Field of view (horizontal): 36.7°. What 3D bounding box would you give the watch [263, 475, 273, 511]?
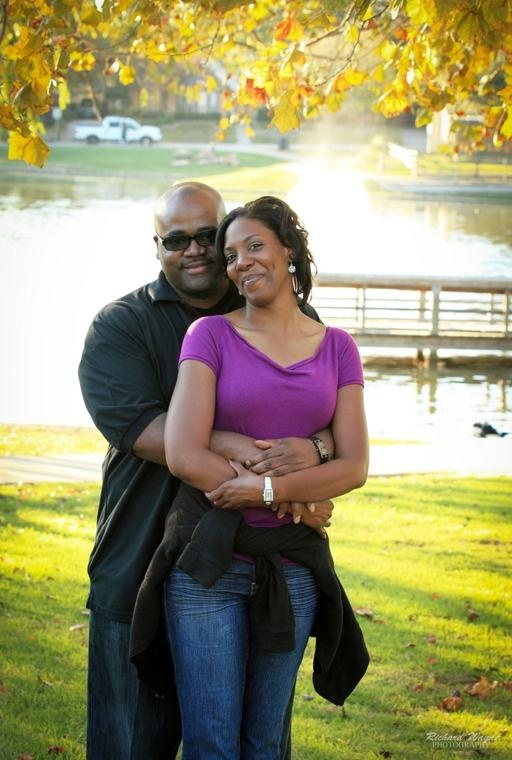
[{"bbox_3d":[0.029,0.275,1.900,0.026,0.075,0.012,-1,7,-12],"label":"watch"}]
